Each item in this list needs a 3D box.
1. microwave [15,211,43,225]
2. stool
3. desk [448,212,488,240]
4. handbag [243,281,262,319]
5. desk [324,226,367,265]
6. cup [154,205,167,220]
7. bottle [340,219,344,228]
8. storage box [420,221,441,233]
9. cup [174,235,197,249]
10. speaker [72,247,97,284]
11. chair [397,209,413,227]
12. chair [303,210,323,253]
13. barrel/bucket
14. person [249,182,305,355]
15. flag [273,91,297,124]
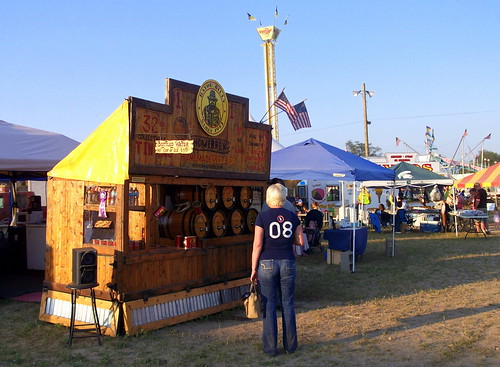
[{"bbox_3d":[-5.453,0.893,11.529,0.587,0.291,1.024,-1,2,-29],"label":"microwave"},{"bbox_3d":[-2.457,1.988,6.848,0.581,0.950,0.646,-1,5,-8],"label":"stool"},{"bbox_3d":[8.677,1.467,18.219,1.218,1.057,4.646,0,2,24],"label":"desk"},{"bbox_3d":[0.076,1.608,6.381,0.222,0.505,0.352,1,-8,7],"label":"handbag"},{"bbox_3d":[2.530,1.523,12.038,0.786,0.728,1.379,1,1,35],"label":"desk"},{"bbox_3d":[-1.551,0.524,8.031,0.118,0.124,0.218,27,28,12],"label":"cup"},{"bbox_3d":[2.367,1.051,11.648,0.138,0.282,0.142,0,3,0],"label":"bottle"},{"bbox_3d":[7.349,1.794,18.720,0.497,0.351,0.538,1,2,25],"label":"storage box"},{"bbox_3d":[-1.096,1.007,7.831,0.303,0.170,0.179,1,0,24],"label":"cup"},{"bbox_3d":[-2.318,1.211,6.732,0.275,0.511,0.290,0,4,7],"label":"speaker"},{"bbox_3d":[6.374,1.467,19.006,0.650,0.708,0.393,3,10,20],"label":"chair"},{"bbox_3d":[1.958,1.435,13.433,0.673,1.232,0.771,4,0,34],"label":"chair"},{"bbox_3d":[-0.726,0.522,8.296,1.818,0.940,0.830,-1,1,-14],"label":"barrel/bucket"},{"bbox_3d":[0.372,1.177,6.250,0.692,2.304,0.265,0,1,0],"label":"person"},{"bbox_3d":[0.999,-2.063,12.950,0.701,0.976,0.057,5,37,11],"label":"flag"}]
